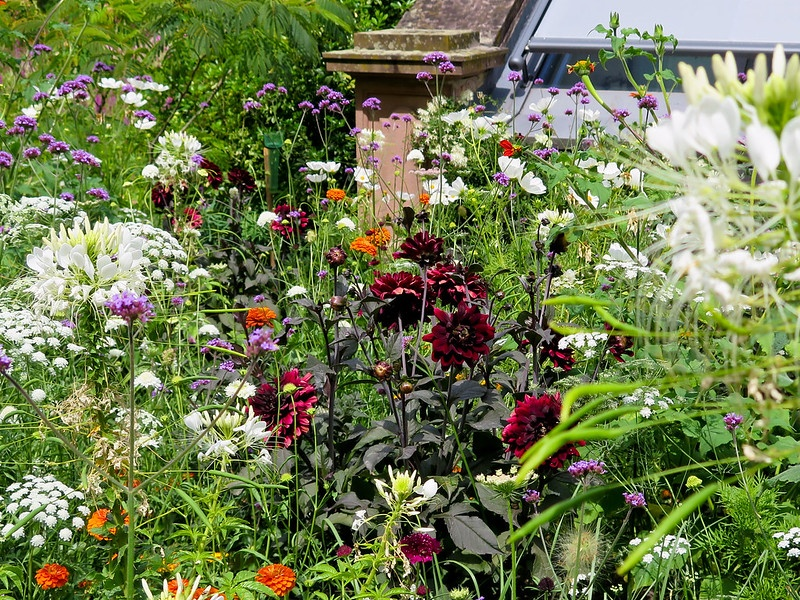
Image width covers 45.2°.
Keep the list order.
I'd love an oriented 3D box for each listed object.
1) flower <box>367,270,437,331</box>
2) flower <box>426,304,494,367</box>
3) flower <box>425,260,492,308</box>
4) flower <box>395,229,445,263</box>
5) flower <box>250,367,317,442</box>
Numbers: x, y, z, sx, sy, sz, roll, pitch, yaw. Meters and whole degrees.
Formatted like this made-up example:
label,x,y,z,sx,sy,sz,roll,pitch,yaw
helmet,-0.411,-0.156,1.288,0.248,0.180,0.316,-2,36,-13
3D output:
label,x,y,z,sx,sy,sz,roll,pitch,yaw
flower,-0.005,-0.005,3.764,0.173,0.240,0.176,1,11,28
flower,0.217,0.131,3.596,0.208,0.251,0.214,-5,7,0
flower,0.216,-0.075,3.833,0.167,0.207,0.181,-9,9,-36
flower,0.086,-0.210,3.771,0.136,0.081,0.140,-25,30,-20
flower,-0.417,0.416,3.676,0.247,0.278,0.108,27,-3,28
